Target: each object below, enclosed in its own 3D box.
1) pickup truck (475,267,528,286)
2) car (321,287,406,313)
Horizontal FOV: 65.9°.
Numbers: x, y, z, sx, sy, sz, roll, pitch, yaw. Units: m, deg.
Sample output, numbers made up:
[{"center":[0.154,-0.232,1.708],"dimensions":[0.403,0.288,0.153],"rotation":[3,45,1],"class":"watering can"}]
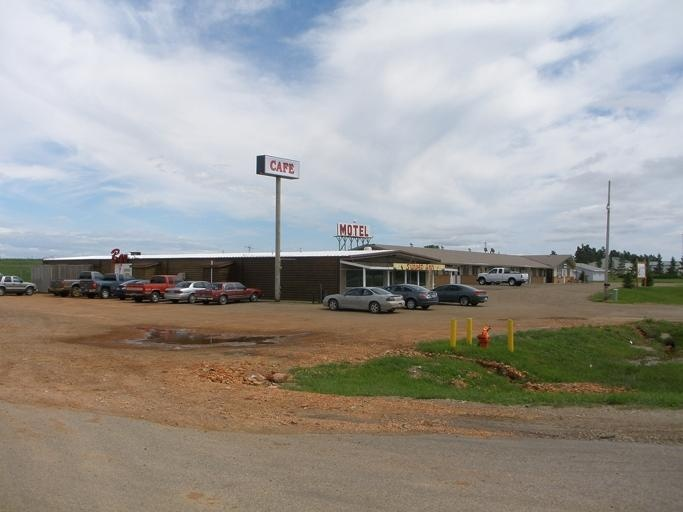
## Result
[{"center":[19.478,2.411,64.037],"dimensions":[5.651,1.631,2.439],"rotation":[2,1,33],"class":"pickup truck"},{"center":[1.226,2.459,30.036],"dimensions":[4.403,1.326,0.885],"rotation":[1,-1,34],"class":"car"}]
